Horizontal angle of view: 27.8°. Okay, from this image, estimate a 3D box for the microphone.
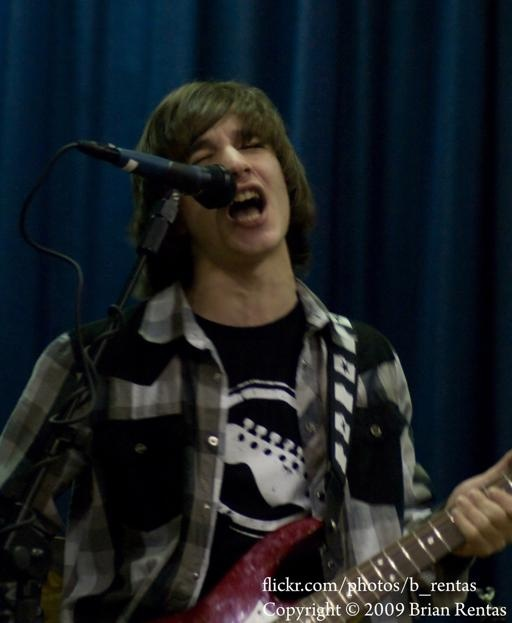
[{"bbox_3d":[-0.192,-0.296,2.094,0.325,0.122,0.125,7,-53,-25],"label":"microphone"}]
